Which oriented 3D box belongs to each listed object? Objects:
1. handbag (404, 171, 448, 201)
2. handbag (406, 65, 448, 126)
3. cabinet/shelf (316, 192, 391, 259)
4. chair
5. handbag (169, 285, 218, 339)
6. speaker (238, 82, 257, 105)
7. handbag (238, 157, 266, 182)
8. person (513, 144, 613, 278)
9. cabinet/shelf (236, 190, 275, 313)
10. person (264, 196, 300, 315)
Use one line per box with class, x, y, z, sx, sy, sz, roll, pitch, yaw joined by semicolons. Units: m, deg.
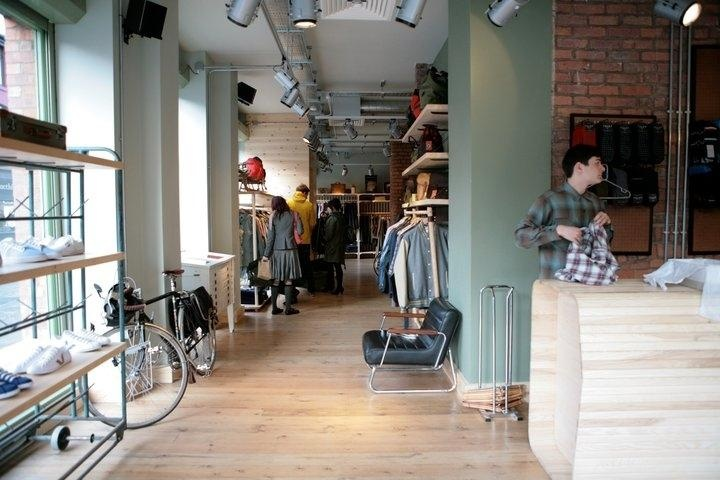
handbag;0.791;-0.624;6.412;0.377;0.159;0.461;1;1;-2
handbag;0.775;-1.655;6.401;0.290;0.571;0.775;5;-2;2
cabinet/shelf;-0.134;-0.407;12.983;2.062;1.629;0.750;0;2;-3
chair;0.527;1.032;5.528;1.009;0.788;0.803;1;-2;-3
handbag;-1.616;0.701;5.584;0.440;0.483;0.528;1;-3;8
speaker;-1.684;-2.179;8.255;0.235;0.314;0.374;-4;15;-12
handbag;-1.682;-1.063;8.626;0.332;0.322;0.462;19;-9;-40
person;1.741;-0.214;4.538;0.779;1.094;0.573;-9;18;-30
cabinet/shelf;-1.572;0.225;8.396;0.624;1.606;1.841;-1;5;-2
person;-1.120;0.235;8.128;0.513;1.775;0.572;-3;16;-9
